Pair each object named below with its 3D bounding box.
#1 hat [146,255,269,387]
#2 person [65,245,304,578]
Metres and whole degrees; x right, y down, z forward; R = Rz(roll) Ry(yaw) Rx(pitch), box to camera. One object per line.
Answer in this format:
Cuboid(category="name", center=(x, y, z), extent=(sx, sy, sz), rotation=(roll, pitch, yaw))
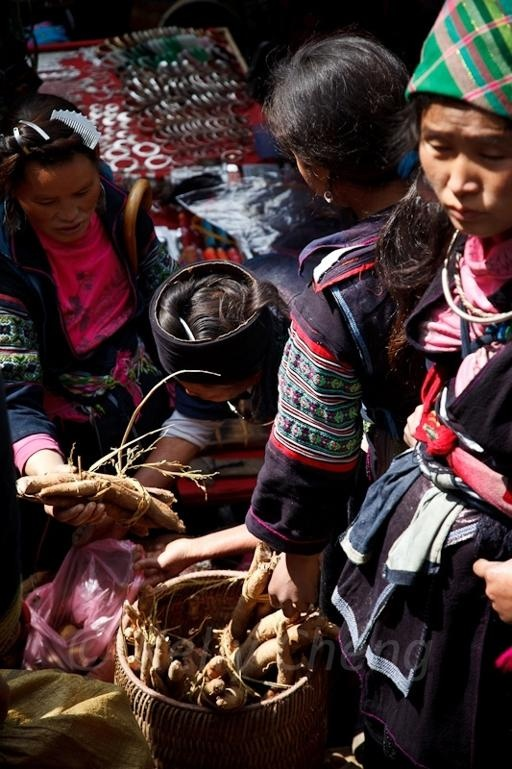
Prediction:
Cuboid(category="hat", center=(-0.133, -0.161, 1.935), extent=(0.416, 0.275, 0.380), rotation=(-3, 58, 2))
Cuboid(category="person", center=(-0.091, 0.091, 2.009), extent=(0.677, 0.507, 0.923), rotation=(12, 77, 13))
